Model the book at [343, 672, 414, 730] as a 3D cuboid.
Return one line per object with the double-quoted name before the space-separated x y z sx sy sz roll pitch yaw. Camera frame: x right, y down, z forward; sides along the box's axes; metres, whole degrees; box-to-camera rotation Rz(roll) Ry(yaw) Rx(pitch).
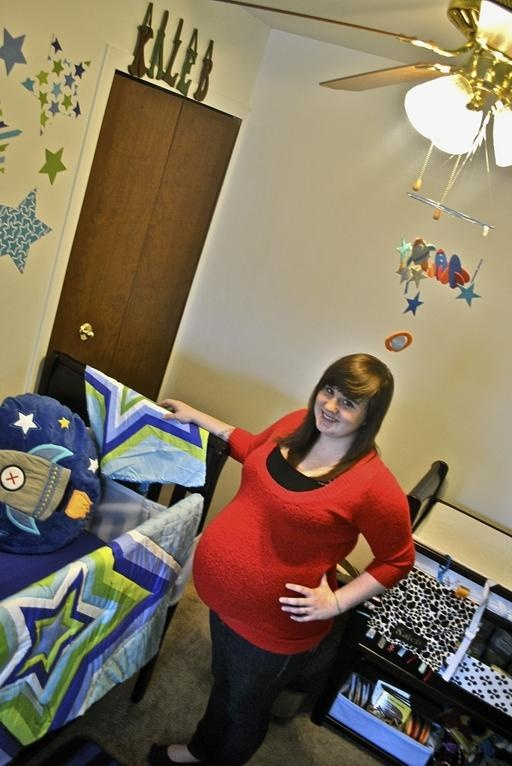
"book" 0.411 1.044 1.789 0.177 0.051 0.135 30 21 34
